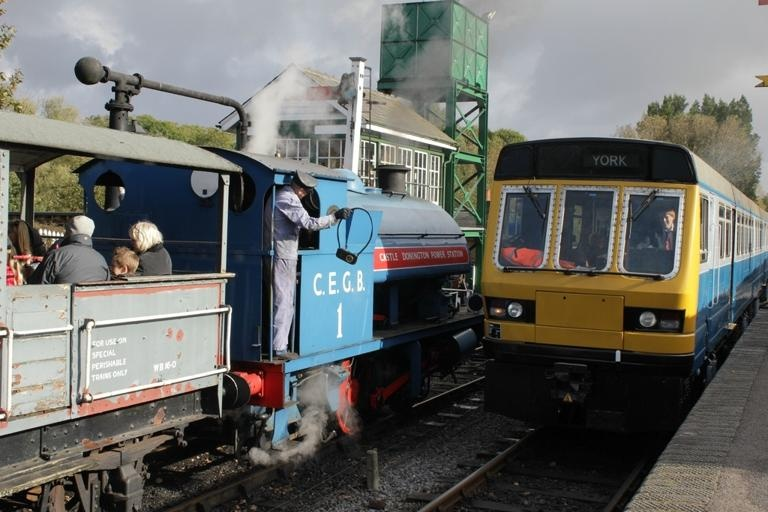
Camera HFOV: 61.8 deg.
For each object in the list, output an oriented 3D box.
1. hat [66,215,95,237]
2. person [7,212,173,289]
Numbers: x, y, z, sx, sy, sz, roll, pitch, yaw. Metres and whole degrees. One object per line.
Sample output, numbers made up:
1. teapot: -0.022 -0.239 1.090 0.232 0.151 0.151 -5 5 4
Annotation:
1. hat: -3.185 -0.346 6.797 0.240 0.245 0.182 30 17 20
2. person: -3.148 -0.057 6.908 1.304 0.746 0.709 2 -7 -2
